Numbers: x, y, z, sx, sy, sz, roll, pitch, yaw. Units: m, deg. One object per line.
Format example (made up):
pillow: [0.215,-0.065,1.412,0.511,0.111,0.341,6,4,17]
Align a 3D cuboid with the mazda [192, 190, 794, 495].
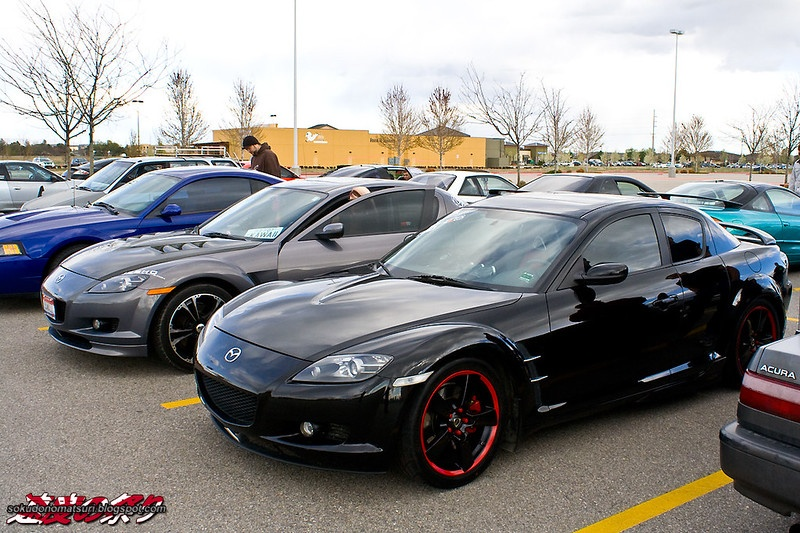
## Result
mazda: [1.121,0.404,4.600,5.146,1.420,2.270,-4,8,-27]

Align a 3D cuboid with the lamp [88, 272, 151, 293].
lamp: [-2.795,0.179,5.144,0.423,0.105,0.239,-20,17,-18]

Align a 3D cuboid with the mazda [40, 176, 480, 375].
mazda: [-1.517,-0.088,6.365,5.174,1.322,2.275,-3,8,-28]

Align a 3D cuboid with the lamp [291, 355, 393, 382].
lamp: [-0.371,0.660,3.325,0.620,0.169,0.114,1,14,2]
